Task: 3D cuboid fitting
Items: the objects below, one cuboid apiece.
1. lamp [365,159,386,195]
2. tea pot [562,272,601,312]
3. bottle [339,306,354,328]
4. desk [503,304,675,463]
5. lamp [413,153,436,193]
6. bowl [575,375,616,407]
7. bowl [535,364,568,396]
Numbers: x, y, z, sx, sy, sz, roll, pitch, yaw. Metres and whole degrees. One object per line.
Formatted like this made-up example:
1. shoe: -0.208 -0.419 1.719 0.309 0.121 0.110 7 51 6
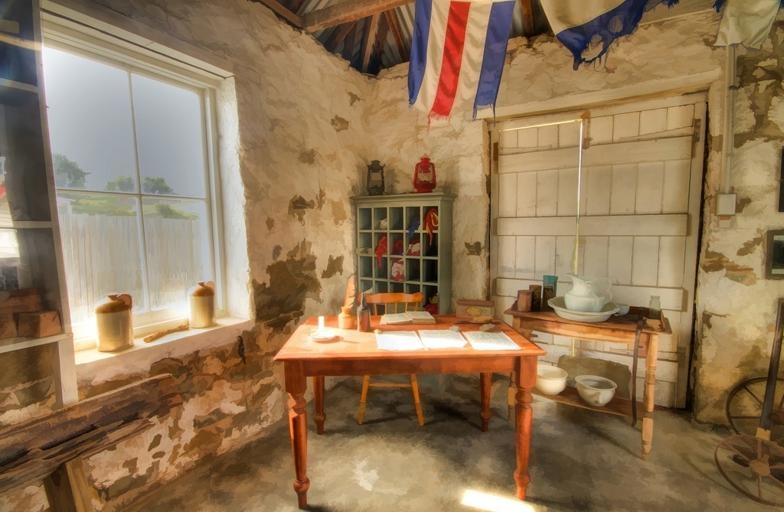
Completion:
1. lamp: -0.205 -0.861 5.734 0.197 0.367 0.160 0 4 5
2. tea pot: 1.606 0.321 4.419 0.308 0.292 0.243 3 3 24
3. bottle: -0.388 0.518 4.423 0.164 0.171 0.163 0 -1 13
4. desk: 1.641 0.849 4.812 1.823 1.613 1.115 0 0 38
5. lamp: 0.321 -0.841 5.397 0.214 0.377 0.169 0 4 0
6. bowl: 1.738 1.136 4.489 0.263 0.161 0.271 1 -3 0
7. bowl: 1.406 1.090 4.688 0.270 0.180 0.302 0 -3 5
